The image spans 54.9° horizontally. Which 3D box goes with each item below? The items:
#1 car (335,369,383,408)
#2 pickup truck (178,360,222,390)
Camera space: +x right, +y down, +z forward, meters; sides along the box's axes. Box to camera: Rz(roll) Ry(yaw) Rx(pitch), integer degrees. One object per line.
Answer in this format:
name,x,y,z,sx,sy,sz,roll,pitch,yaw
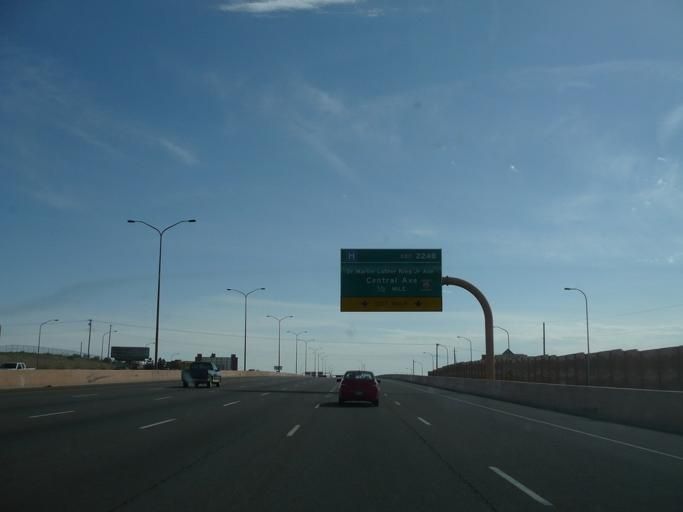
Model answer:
car,0.793,5.867,29.133,1.687,1.498,0.709,1,-11,-5
pickup truck,-10.028,8.513,47.003,2.287,1.898,2.940,1,-13,-5
